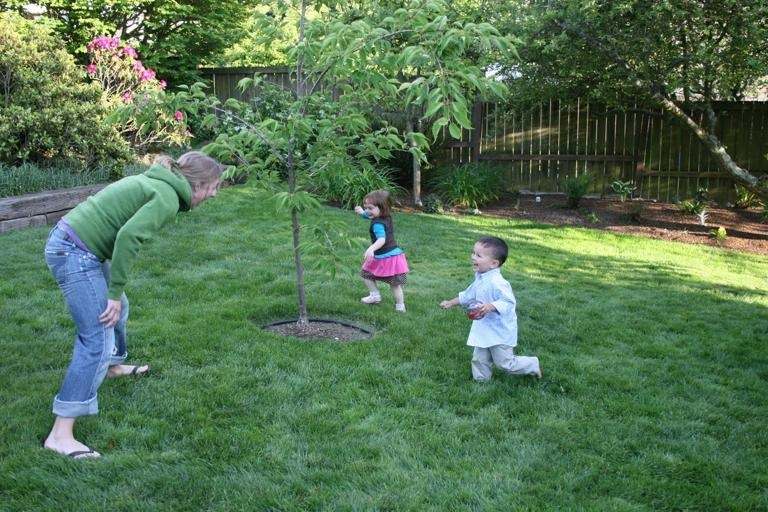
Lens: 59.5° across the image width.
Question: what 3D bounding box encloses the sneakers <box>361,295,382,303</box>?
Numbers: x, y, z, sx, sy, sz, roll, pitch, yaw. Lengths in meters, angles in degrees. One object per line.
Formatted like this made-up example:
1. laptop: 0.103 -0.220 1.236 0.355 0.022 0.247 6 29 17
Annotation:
1. sneakers: -0.147 0.521 7.871 0.199 0.099 0.095 3 4 5

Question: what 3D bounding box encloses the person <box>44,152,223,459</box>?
1. person: -2.129 0.345 5.469 1.156 2.399 0.688 0 13 -27

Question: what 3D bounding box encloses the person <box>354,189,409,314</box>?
1. person: -0.020 -0.087 7.776 0.666 1.316 0.734 5 12 -2

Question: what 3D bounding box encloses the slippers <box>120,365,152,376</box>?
1. slippers: -2.271 1.045 6.136 0.259 0.071 0.094 4 3 -22

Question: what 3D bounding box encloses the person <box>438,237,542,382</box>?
1. person: 1.029 0.539 6.466 0.934 1.385 0.821 3 3 29
